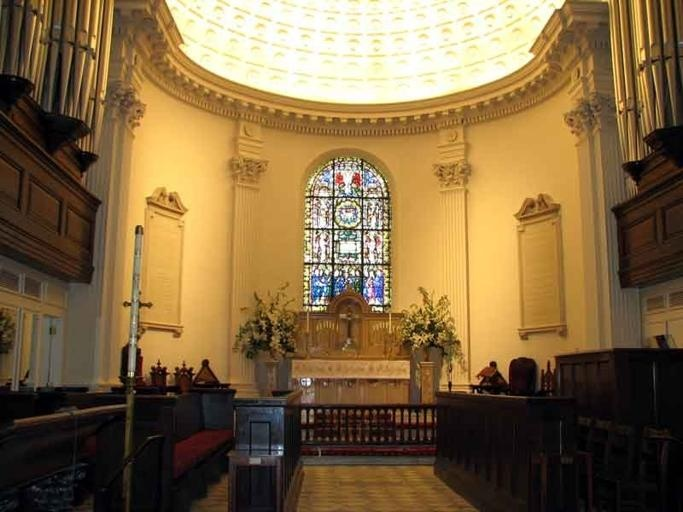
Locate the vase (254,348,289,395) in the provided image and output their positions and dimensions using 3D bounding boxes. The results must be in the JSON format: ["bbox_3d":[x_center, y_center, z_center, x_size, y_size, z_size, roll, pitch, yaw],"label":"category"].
[{"bbox_3d":[-1.620,2.886,15.235,0.969,1.044,0.533,-4,0,-23],"label":"vase"}]
